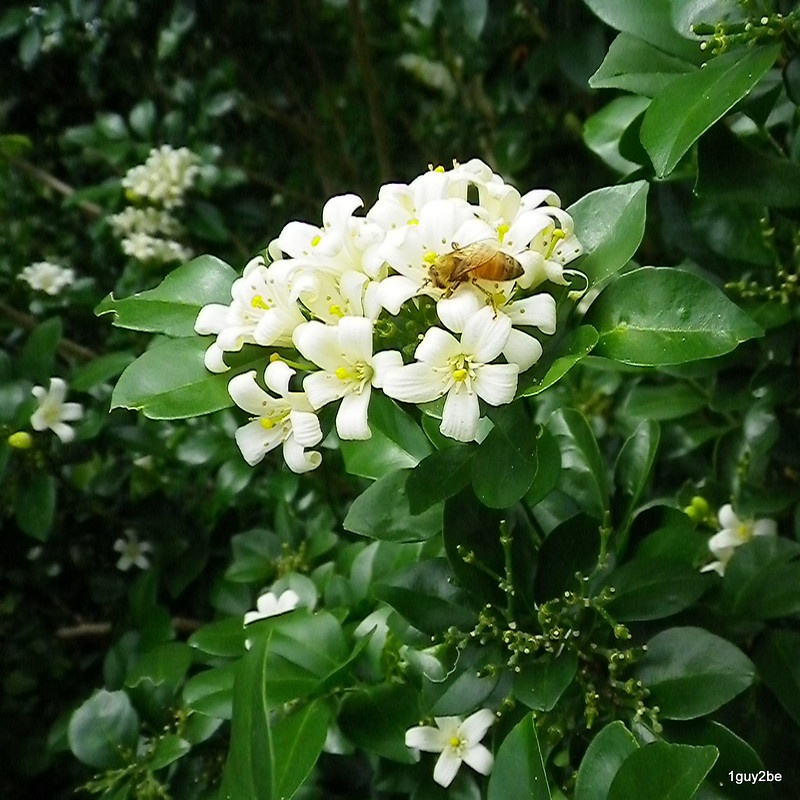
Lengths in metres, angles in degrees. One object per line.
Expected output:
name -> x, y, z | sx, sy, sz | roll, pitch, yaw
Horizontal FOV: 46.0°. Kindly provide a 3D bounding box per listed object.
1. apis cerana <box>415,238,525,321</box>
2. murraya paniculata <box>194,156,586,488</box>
apis cerana -> 0.096, -0.153, 1.261 | 0.089, 0.036, 0.084 | -8, 64, 12
murraya paniculata -> -0.013, -0.087, 1.403 | 0.411, 0.147, 0.486 | -15, 73, 5
